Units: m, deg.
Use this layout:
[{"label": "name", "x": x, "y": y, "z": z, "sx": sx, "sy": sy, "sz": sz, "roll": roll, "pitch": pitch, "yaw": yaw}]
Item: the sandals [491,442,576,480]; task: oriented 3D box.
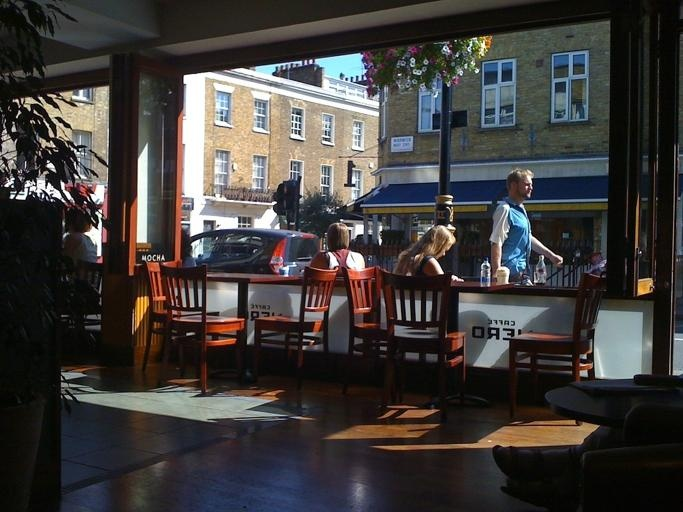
[{"label": "sandals", "x": 1.038, "y": 1.102, "z": 4.113, "sx": 0.317, "sy": 0.125, "sz": 0.216, "roll": -4, "pitch": -3, "yaw": 9}]

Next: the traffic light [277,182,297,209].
[{"label": "traffic light", "x": -0.995, "y": -1.118, "z": 13.816, "sx": 0.353, "sy": 0.516, "sz": 0.369, "roll": 0, "pitch": 4, "yaw": -6}]

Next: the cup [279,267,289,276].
[{"label": "cup", "x": -0.875, "y": 0.227, "z": 11.489, "sx": 0.137, "sy": 0.163, "sz": 0.143, "roll": 1, "pitch": 2, "yaw": 0}]

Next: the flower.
[{"label": "flower", "x": 0.694, "y": -2.304, "z": 8.782, "sx": 1.432, "sy": 0.782, "sz": 1.701, "roll": 6, "pitch": 19, "yaw": 15}]

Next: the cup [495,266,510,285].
[{"label": "cup", "x": 1.429, "y": 0.175, "z": 6.776, "sx": 0.132, "sy": 0.164, "sz": 0.131, "roll": -1, "pitch": 0, "yaw": 0}]
